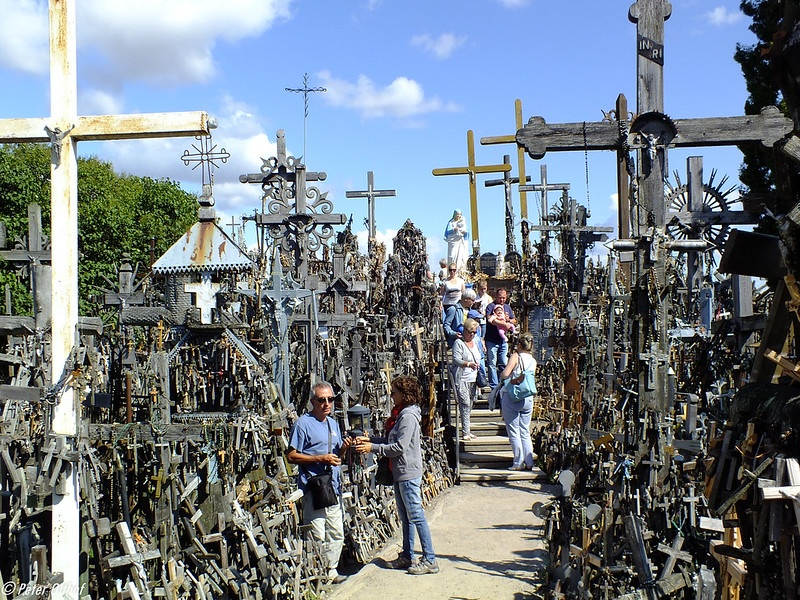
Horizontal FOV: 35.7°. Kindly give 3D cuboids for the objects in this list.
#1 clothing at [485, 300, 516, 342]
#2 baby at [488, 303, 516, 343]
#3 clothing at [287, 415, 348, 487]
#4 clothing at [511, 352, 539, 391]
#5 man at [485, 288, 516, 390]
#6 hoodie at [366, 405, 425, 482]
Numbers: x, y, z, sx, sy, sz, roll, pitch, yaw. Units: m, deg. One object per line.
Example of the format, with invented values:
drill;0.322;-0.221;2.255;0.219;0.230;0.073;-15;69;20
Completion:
clothing;1.557;0.378;19.052;0.451;0.672;0.407;2;3;4
baby;1.608;0.312;18.803;0.195;0.578;0.394;-9;-18;-37
clothing;-0.913;1.616;13.342;0.772;0.866;0.435;3;-7;-38
clothing;1.606;0.979;16.688;0.227;0.352;0.181;-2;27;34
man;1.566;0.609;19.128;0.609;1.581;0.549;-3;7;-37
hoodie;-0.081;1.554;13.790;0.672;0.825;0.685;1;0;-5
